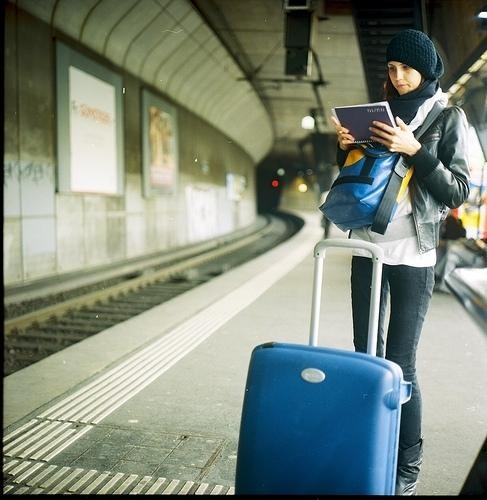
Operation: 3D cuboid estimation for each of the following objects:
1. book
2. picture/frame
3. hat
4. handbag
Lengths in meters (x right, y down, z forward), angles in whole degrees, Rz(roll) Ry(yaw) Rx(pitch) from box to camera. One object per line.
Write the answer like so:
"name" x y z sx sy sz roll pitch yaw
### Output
"book" 0.424 -0.443 1.713 0.207 0.121 0.097 9 16 43
"picture/frame" -0.977 -0.985 3.583 0.120 0.942 1.185 1 0 37
"hat" 0.647 -0.718 1.805 0.192 0.173 0.157 4 16 -5
"handbag" 0.529 -0.228 1.877 0.175 0.358 0.259 27 -4 14
